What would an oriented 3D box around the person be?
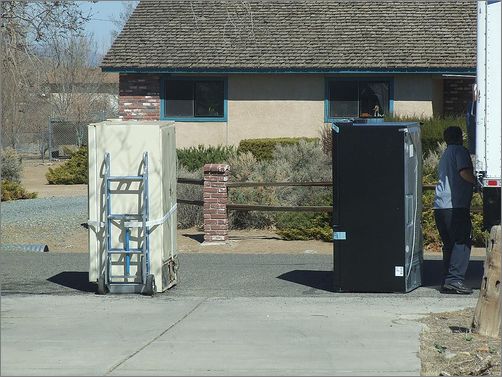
[{"bbox_3d":[4.450,0.475,28.243,0.901,3.613,0.469,0,2,18],"label":"person"}]
